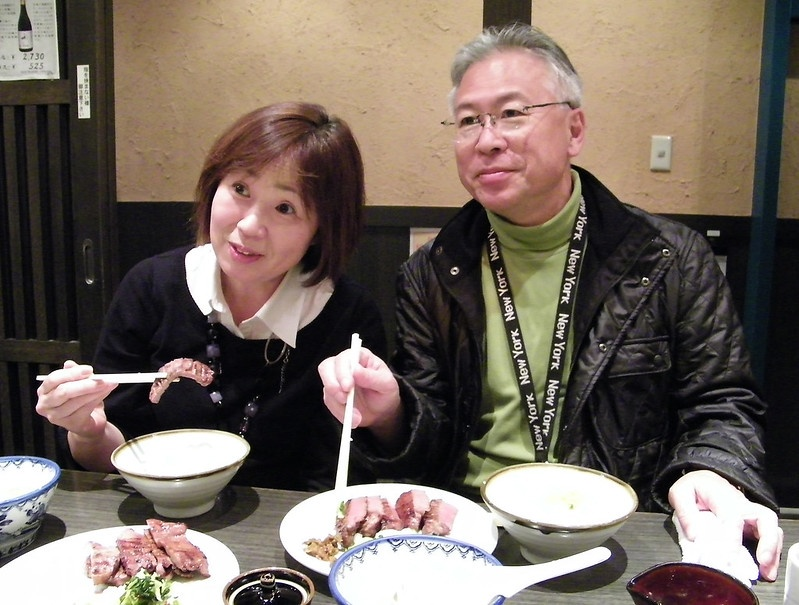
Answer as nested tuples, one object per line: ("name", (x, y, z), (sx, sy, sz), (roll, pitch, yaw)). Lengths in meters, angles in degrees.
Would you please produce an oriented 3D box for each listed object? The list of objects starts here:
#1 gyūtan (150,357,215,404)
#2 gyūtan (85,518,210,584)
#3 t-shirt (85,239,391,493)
("gyūtan", (-0.835, 0.296, 2.527), (0.207, 0.080, 0.214), (-44, -22, 32))
("gyūtan", (-0.713, 0.704, 1.911), (0.198, 0.053, 0.182), (13, 23, -16))
("t-shirt", (-0.629, 0.281, 2.666), (0.961, 0.686, 0.487), (22, 5, -8))
